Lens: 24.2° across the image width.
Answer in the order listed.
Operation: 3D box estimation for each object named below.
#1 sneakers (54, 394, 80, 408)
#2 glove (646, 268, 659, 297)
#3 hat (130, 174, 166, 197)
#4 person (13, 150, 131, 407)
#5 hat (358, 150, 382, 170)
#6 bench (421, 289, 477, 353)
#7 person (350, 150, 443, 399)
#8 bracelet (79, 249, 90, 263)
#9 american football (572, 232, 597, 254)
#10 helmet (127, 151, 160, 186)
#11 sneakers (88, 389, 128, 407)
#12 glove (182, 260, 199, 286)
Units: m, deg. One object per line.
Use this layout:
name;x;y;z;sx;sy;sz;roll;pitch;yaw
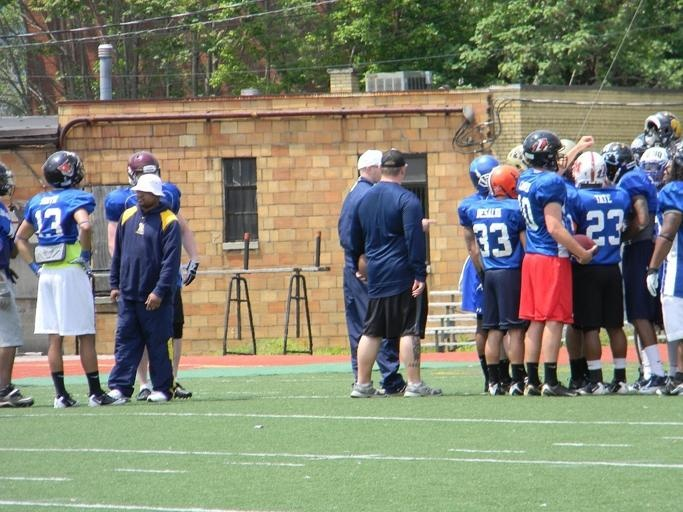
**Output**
sneakers;-3.866;2.029;22.188;0.395;0.195;0.142;-2;3;-18
glove;4.314;0.362;21.904;0.149;0.225;0.306;10;20;12
hat;-2.707;-0.978;22.239;0.406;0.308;0.445;-3;12;-7
person;-3.908;0.385;22.297;1.188;3.543;1.461;-5;13;-13
hat;0.442;-1.405;22.935;0.352;0.213;0.214;-19;15;-18
bench;2.177;1.343;32.340;1.560;1.095;0.565;2;-10;1
person;0.741;0.260;22.217;1.265;3.420;0.909;-1;13;1
bracelet;-3.597;-0.009;22.206;0.169;0.232;0.164;0;-2;5
american football;3.351;-0.160;21.738;0.286;0.247;0.275;1;13;12
helmet;-2.865;-1.249;22.855;0.401;0.478;0.536;-5;7;-26
sneakers;-3.271;1.986;22.198;0.552;0.216;0.198;-3;-1;-11
glove;-2.178;0.229;22.898;0.148;0.205;0.481;11;28;-15
